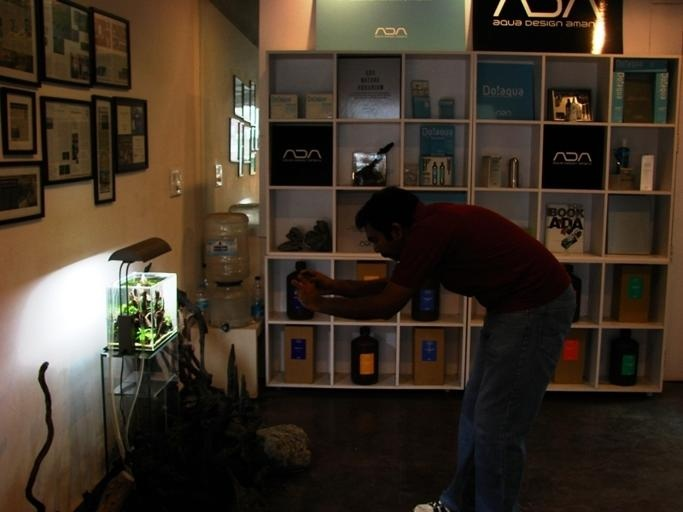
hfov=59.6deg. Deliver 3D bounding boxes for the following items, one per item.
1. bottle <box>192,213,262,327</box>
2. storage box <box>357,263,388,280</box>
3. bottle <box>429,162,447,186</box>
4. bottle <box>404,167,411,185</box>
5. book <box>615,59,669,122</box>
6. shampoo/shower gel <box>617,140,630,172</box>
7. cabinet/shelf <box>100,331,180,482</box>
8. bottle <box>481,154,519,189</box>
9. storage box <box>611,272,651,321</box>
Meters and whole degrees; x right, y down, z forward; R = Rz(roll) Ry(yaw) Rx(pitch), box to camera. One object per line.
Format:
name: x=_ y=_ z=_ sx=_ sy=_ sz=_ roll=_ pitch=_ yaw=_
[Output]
bottle: x=-0.922 y=0.119 z=4.888 sx=0.388 sy=0.891 sz=0.432 roll=-1 pitch=12 yaw=-9
storage box: x=0.247 y=0.122 z=4.900 sx=0.236 sy=0.163 sz=0.129 roll=1 pitch=-3 yaw=-5
bottle: x=0.786 y=-0.663 z=4.810 sx=0.113 sy=0.185 sz=0.034 roll=2 pitch=12 yaw=5
bottle: x=0.553 y=-0.650 z=4.855 sx=0.072 sy=0.136 sz=0.063 roll=6 pitch=13 yaw=25
book: x=2.376 y=-1.314 z=4.736 sx=0.460 sy=0.484 sz=0.097 roll=1 pitch=12 yaw=4
shampoo/shower gel: x=2.312 y=-0.825 z=4.878 sx=0.102 sy=0.251 sz=0.213 roll=6 pitch=13 yaw=24
cabinet/shelf: x=-1.211 y=0.911 z=3.535 sx=0.307 sy=0.789 sz=0.900 roll=0 pitch=4 yaw=6
bottle: x=1.314 y=-0.685 z=4.865 sx=0.333 sy=0.254 sz=0.317 roll=1 pitch=12 yaw=0
storage box: x=2.376 y=0.316 z=4.885 sx=0.263 sy=0.460 sz=0.161 roll=6 pitch=13 yaw=23
